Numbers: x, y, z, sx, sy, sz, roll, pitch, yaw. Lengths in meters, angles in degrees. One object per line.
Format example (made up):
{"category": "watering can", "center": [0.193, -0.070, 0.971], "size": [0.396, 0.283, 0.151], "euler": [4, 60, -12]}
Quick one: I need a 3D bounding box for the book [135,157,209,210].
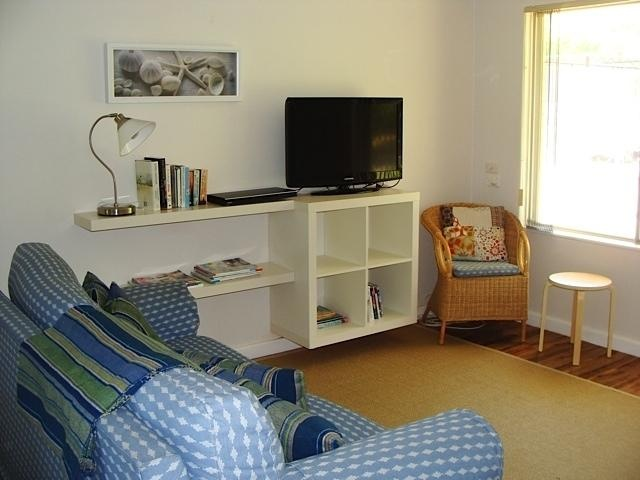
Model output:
{"category": "book", "center": [-1.012, -0.398, 3.513], "size": [0.438, 0.422, 0.352], "euler": [-3, 12, -30]}

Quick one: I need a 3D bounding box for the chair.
{"category": "chair", "center": [1.370, 0.244, 4.544], "size": [0.978, 1.109, 0.995], "euler": [4, 8, 37]}

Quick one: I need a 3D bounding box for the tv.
{"category": "tv", "center": [0.151, -0.734, 3.974], "size": [0.743, 0.546, 0.196], "euler": [-6, 14, -26]}

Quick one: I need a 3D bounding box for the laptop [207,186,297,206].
{"category": "laptop", "center": [-0.475, -0.311, 3.711], "size": [0.640, 0.069, 0.235], "euler": [-10, 16, -32]}

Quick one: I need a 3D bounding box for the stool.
{"category": "stool", "center": [2.044, 0.615, 4.081], "size": [0.522, 0.605, 0.542], "euler": [1, 11, 12]}

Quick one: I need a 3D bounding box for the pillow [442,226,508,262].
{"category": "pillow", "center": [1.348, 0.036, 4.425], "size": [0.461, 0.302, 0.129], "euler": [3, -14, 4]}

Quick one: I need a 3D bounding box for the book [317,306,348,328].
{"category": "book", "center": [0.076, 0.620, 4.040], "size": [0.165, 0.040, 0.163], "euler": [-7, 14, -36]}

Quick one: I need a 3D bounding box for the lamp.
{"category": "lamp", "center": [-1.272, -0.479, 3.247], "size": [0.494, 0.629, 0.322], "euler": [11, 18, 43]}
